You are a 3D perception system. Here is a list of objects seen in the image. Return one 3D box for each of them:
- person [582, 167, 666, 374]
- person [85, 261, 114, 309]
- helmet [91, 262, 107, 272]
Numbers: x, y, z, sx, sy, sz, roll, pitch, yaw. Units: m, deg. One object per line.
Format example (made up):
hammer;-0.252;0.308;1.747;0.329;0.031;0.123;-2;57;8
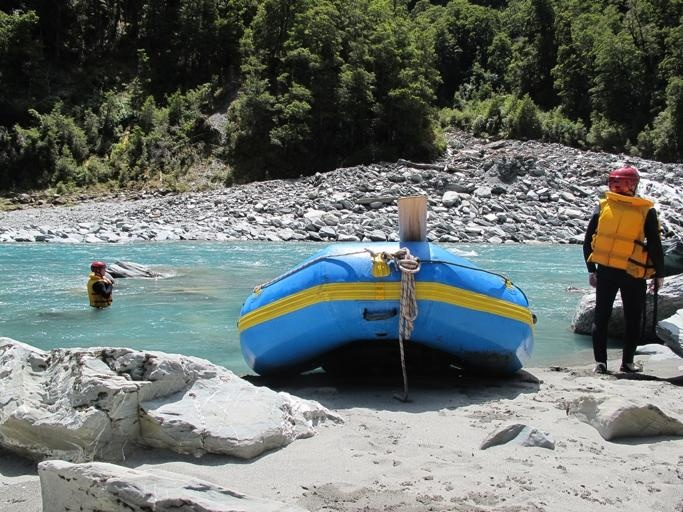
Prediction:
person;2.837;0.149;6.943;0.788;2.119;0.444;3;6;30
person;-3.688;0.445;10.557;0.335;0.711;0.627;-1;4;-19
helmet;-3.799;0.174;10.799;0.230;0.156;0.165;-12;24;-31
